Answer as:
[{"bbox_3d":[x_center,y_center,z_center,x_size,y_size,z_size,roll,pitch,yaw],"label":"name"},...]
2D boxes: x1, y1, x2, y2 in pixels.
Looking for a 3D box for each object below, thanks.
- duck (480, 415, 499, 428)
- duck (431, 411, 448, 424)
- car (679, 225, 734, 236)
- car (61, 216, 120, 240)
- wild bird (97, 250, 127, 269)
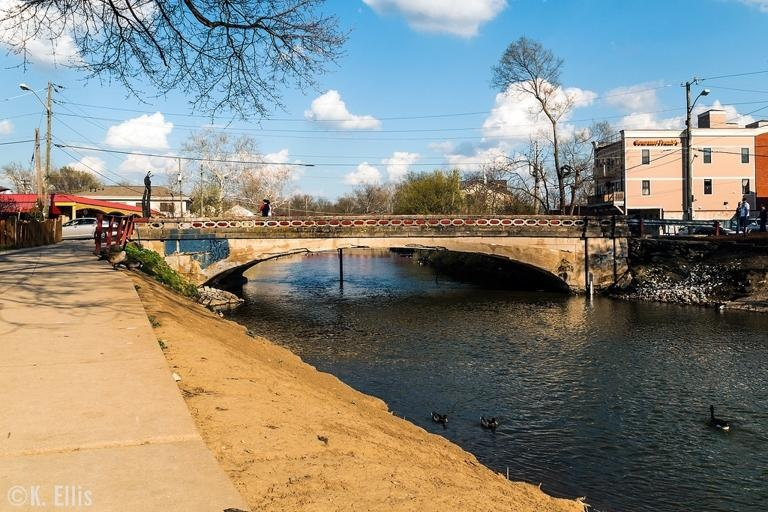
[{"bbox_3d":[3.008,4.816,18.548,0.382,0.207,0.550,-22,-3,-8],"label":"duck"},{"bbox_3d":[1.604,4.659,18.657,0.482,0.284,0.665,3,14,5],"label":"duck"},{"bbox_3d":[20.879,-1.654,42.019,2.908,0.843,1.268,-3,1,23],"label":"car"},{"bbox_3d":[-18.025,-1.601,38.059,1.902,1.070,3.398,-5,16,-25],"label":"car"},{"bbox_3d":[-9.101,0.070,21.806,0.810,0.234,0.739,3,26,-3],"label":"wild bird"}]
